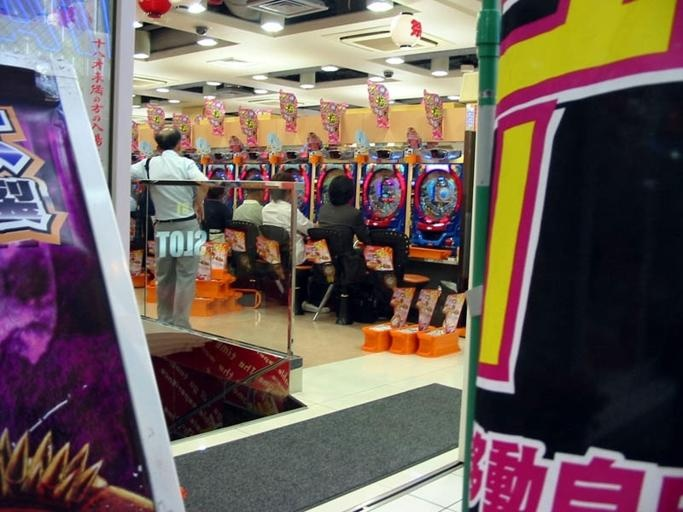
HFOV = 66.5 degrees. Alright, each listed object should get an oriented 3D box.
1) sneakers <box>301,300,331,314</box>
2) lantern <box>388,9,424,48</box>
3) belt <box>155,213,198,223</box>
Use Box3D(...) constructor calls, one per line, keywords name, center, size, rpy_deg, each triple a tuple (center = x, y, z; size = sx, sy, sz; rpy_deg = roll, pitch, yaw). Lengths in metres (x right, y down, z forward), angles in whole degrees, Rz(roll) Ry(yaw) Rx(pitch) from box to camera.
Box3D(name="sneakers", center=(-0.315, 0.624, 6.414), size=(0.372, 0.146, 0.125), rpy_deg=(2, 7, 5))
Box3D(name="lantern", center=(0.728, -2.491, 5.839), size=(0.380, 0.421, 0.377), rpy_deg=(2, 3, 19))
Box3D(name="belt", center=(-1.177, -0.264, 3.685), size=(0.340, 0.061, 0.041), rpy_deg=(4, 7, 22))
